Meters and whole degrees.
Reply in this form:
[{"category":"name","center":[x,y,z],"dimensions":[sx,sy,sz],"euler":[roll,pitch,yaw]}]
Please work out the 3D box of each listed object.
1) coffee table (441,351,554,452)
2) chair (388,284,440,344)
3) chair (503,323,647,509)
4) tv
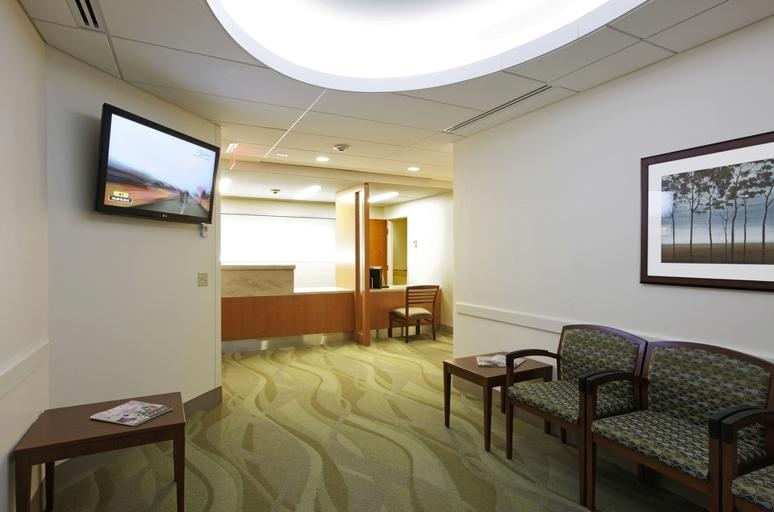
[{"category":"coffee table","center":[1.124,1.412,5.387],"dimensions":[0.895,0.857,0.922],"euler":[-3,12,-23]},{"category":"chair","center":[0.545,1.032,9.177],"dimensions":[0.910,1.417,1.030],"euler":[0,2,-24]},{"category":"chair","center":[1.678,1.429,5.314],"dimensions":[1.317,1.968,1.504],"euler":[3,-3,-26]},{"category":"tv","center":[-2.274,-0.837,5.064],"dimensions":[0.117,0.952,1.343],"euler":[10,2,24]}]
